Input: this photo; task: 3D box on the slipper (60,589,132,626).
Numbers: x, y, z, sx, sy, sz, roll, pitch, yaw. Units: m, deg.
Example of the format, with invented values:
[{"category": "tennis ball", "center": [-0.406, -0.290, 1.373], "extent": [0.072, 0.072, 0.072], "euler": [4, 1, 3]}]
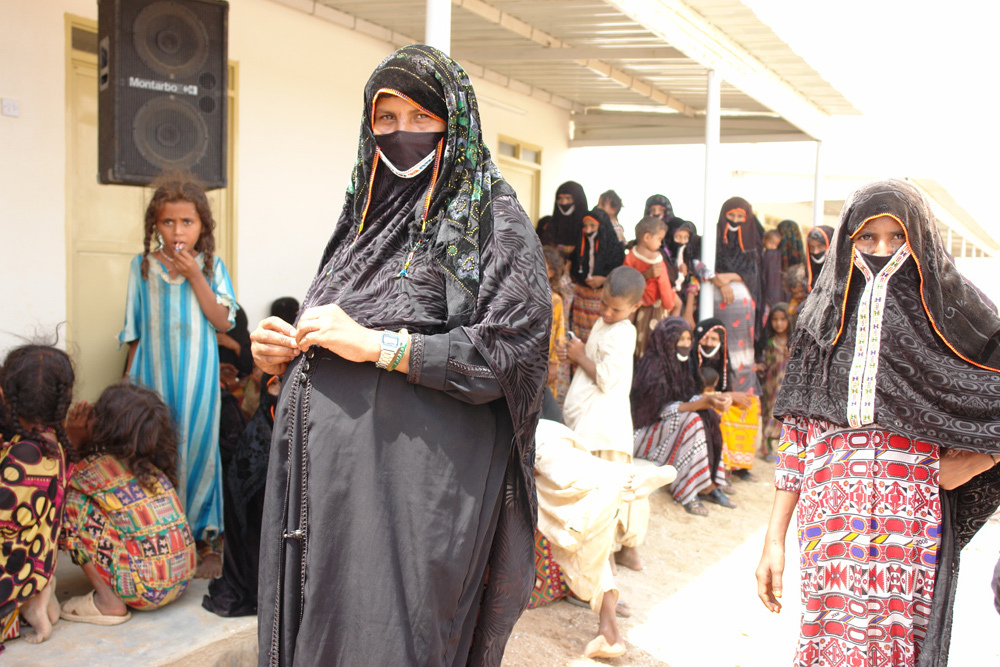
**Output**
[{"category": "slipper", "center": [-1.980, 1.350, 4.231], "extent": [0.310, 0.117, 0.139], "euler": [6, -4, 4]}]

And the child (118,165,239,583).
[{"category": "child", "center": [-1.750, 0.228, 4.809], "extent": [0.712, 2.098, 0.522], "euler": [2, 7, -8]}]

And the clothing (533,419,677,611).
[{"category": "clothing", "center": [0.504, 0.927, 4.542], "extent": [0.546, 1.063, 0.856], "euler": [-19, -30, 36]}]

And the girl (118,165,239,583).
[{"category": "girl", "center": [-1.770, 0.234, 4.779], "extent": [0.724, 2.108, 0.612], "euler": [1, 8, -12]}]

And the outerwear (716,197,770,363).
[{"category": "outerwear", "center": [2.328, -0.589, 8.664], "extent": [0.517, 1.277, 0.388], "euler": [-1, -21, 13]}]

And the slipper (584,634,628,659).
[{"category": "slipper", "center": [0.544, 1.630, 4.501], "extent": [0.176, 0.069, 0.132], "euler": [1, -5, -38]}]
